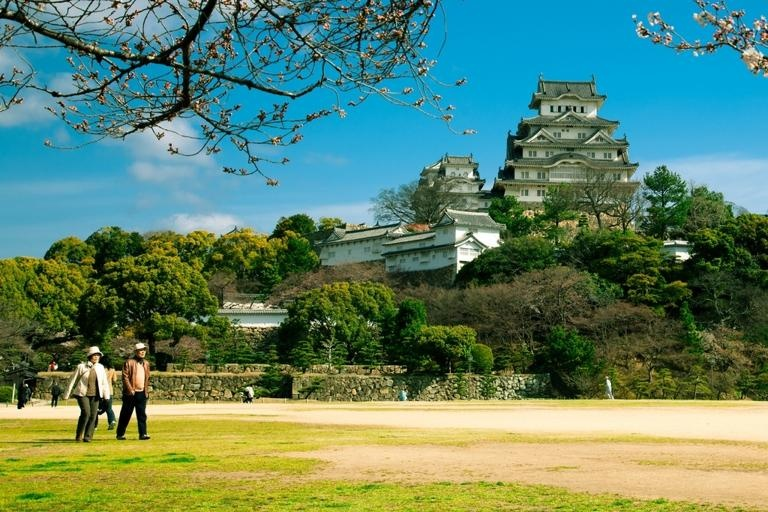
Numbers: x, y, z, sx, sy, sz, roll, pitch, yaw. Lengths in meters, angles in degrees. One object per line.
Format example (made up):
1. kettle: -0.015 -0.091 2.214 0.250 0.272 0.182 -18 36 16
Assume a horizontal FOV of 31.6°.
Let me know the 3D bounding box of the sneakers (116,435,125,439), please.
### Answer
1. sneakers: -10.456 7.118 53.802 0.326 0.117 0.139 -2 -4 -15

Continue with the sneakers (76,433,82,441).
1. sneakers: -12.089 7.079 53.648 0.262 0.324 0.214 -5 -14 6
